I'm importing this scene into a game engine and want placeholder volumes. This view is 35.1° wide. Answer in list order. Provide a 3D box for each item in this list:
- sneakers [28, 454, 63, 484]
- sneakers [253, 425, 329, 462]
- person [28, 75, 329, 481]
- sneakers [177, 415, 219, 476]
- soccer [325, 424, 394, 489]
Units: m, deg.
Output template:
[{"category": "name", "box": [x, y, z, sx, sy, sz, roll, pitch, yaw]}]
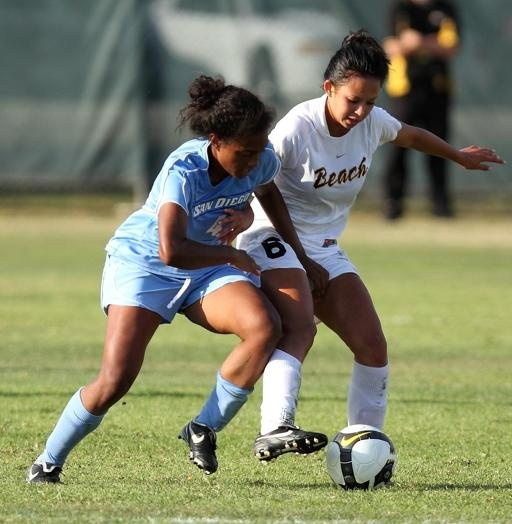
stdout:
[{"category": "sneakers", "box": [-0.793, 0.781, 3.032, 0.157, 0.076, 0.065, 2, 4, -14]}, {"category": "sneakers", "box": [0.177, 0.659, 3.000, 0.343, 0.089, 0.134, -8, 35, 8]}, {"category": "person", "box": [-0.279, 0.062, 3.158, 1.172, 1.531, 0.569, 0, 6, -14]}, {"category": "sneakers", "box": [-0.216, 0.692, 3.079, 0.124, 0.160, 0.220, 1, 5, -10]}, {"category": "soccer", "box": [0.406, 0.762, 3.172, 0.332, 0.232, 0.279, 1, -4, 0]}]
